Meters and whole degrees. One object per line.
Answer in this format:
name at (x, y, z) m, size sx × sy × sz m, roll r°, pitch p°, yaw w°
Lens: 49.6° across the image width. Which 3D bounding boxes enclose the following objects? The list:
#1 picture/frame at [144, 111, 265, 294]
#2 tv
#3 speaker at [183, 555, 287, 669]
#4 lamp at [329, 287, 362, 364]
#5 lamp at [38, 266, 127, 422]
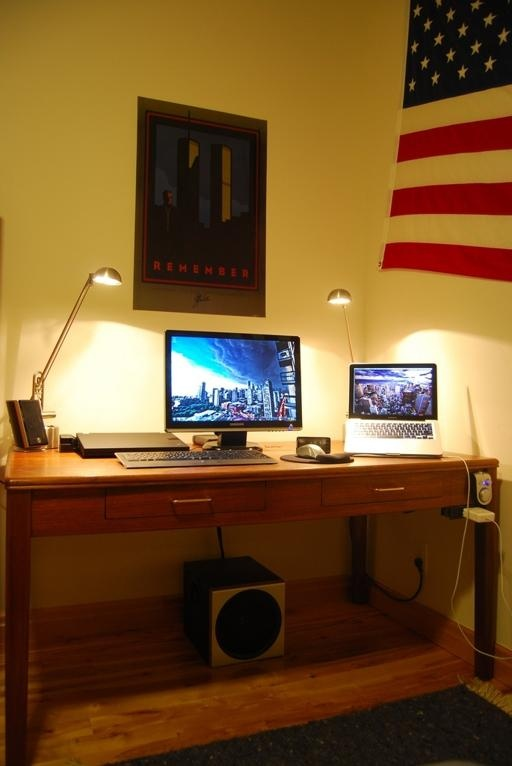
picture/frame at (-0.234, -0.755, 2.313) m, size 0.643 × 0.988 × 0.058 m, roll 2°, pitch 2°, yaw -24°
tv at (-0.086, 0.019, 1.960) m, size 0.350 × 0.355 × 0.120 m, roll 3°, pitch -11°, yaw -20°
speaker at (-0.073, 0.749, 1.953) m, size 0.264 × 0.302 × 0.298 m, roll 0°, pitch 2°, yaw -17°
lamp at (0.380, -0.268, 2.464) m, size 0.125 × 0.332 × 0.393 m, roll 1°, pitch -1°, yaw 11°
lamp at (-0.635, -0.133, 2.002) m, size 0.320 × 0.548 × 0.304 m, roll 1°, pitch -1°, yaw -24°
